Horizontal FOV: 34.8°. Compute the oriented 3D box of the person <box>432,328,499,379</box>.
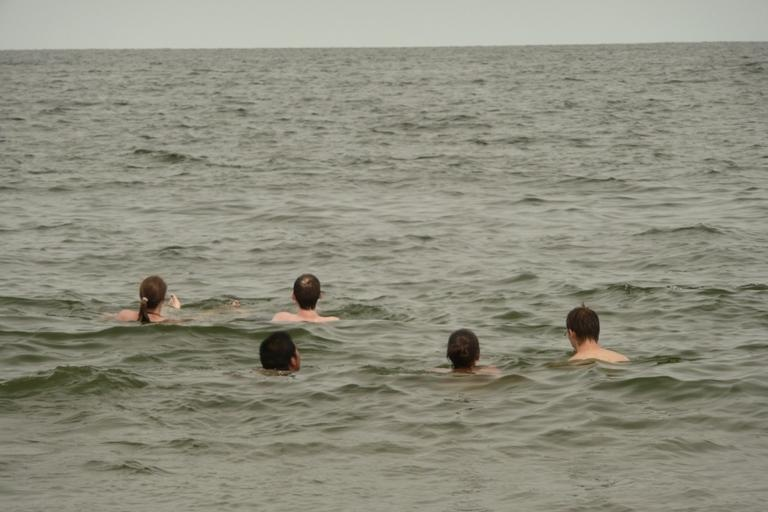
[{"bbox_3d":[1.449,1.771,22.093,0.966,0.831,0.639,7,-28,-13],"label":"person"}]

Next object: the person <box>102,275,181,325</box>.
[{"bbox_3d":[-4.621,0.807,23.951,1.056,0.500,1.148,6,24,-9],"label":"person"}]

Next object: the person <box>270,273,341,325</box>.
[{"bbox_3d":[-1.552,0.999,24.346,1.766,1.117,0.742,4,4,-21],"label":"person"}]

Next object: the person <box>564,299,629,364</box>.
[{"bbox_3d":[3.755,1.437,22.502,1.504,0.907,1.037,-12,16,-7],"label":"person"}]

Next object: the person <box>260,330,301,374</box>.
[{"bbox_3d":[-1.902,1.721,22.216,0.733,0.758,0.343,2,-28,-4],"label":"person"}]
